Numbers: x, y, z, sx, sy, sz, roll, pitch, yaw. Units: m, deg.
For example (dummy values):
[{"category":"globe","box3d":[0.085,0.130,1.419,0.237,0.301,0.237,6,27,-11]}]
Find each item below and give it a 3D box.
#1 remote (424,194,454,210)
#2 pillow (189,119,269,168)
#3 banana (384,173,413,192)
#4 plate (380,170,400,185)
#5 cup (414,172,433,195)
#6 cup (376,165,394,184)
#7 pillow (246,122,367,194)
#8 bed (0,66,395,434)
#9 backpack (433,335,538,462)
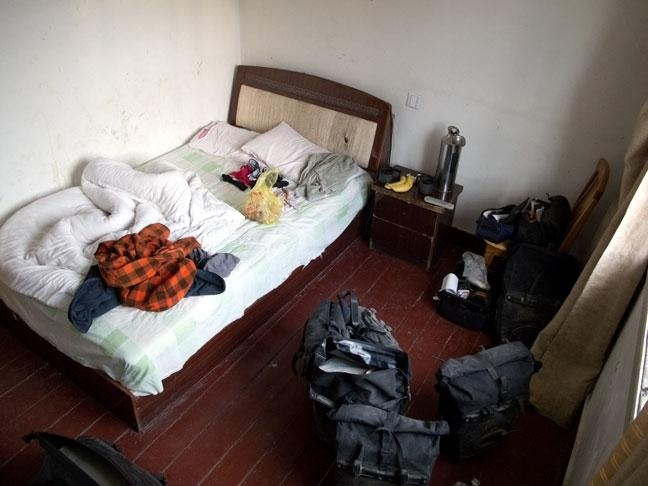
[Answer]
[{"category":"remote","box3d":[0.810,-0.282,3.210,0.262,0.065,0.084,13,49,16]},{"category":"pillow","box3d":[-0.867,-0.857,3.823,0.478,0.123,0.382,22,50,14]},{"category":"banana","box3d":[0.556,-0.430,3.333,0.196,0.083,0.121,-26,44,-29]},{"category":"plate","box3d":[0.500,-0.503,3.441,0.106,0.054,0.159,16,37,19]},{"category":"cup","box3d":[0.755,-0.415,3.320,0.120,0.113,0.137,8,28,6]},{"category":"cup","box3d":[0.464,-0.501,3.435,0.122,0.092,0.126,-1,50,1]},{"category":"pillow","box3d":[-0.180,-0.624,3.494,0.549,0.134,0.718,-39,67,-22]},{"category":"bed","box3d":[-0.603,-0.394,3.417,1.708,1.511,3.174,27,48,25]},{"category":"backpack","box3d":[0.880,0.864,2.428,0.422,0.440,0.249,-16,35,-17]}]
